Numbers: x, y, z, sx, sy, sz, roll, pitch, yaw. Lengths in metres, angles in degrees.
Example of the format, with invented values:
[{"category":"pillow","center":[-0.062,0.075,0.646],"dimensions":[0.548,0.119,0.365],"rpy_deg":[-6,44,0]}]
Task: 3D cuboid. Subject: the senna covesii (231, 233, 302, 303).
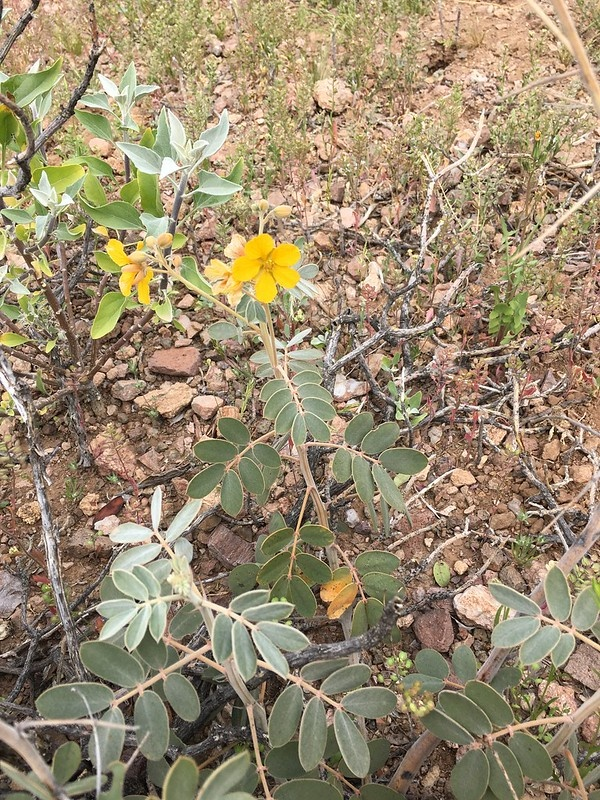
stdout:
[{"category":"senna covesii","center":[-0.075,-0.291,1.487],"dimensions":[0.142,0.138,0.041],"rpy_deg":[3,68,-18]}]
